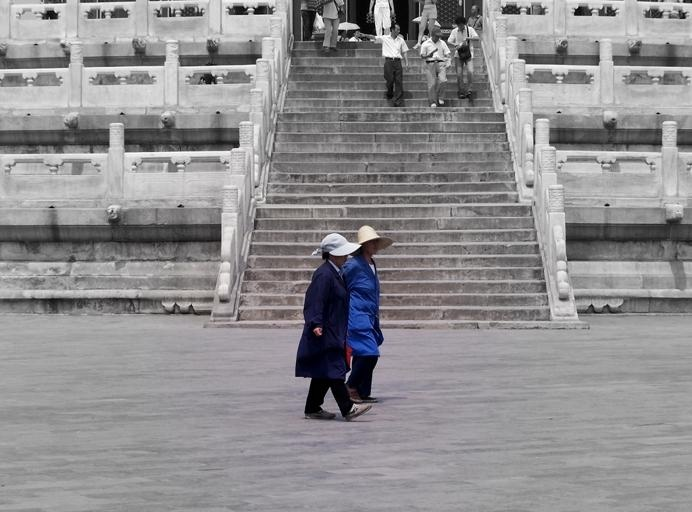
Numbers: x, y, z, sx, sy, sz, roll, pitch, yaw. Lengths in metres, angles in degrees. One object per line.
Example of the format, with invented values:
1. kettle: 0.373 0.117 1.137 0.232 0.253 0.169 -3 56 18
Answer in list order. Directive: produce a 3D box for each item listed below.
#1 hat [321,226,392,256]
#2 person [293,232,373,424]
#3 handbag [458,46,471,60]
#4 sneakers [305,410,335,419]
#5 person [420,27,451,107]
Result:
1. hat: 0.106 -0.114 24.690 0.649 0.187 0.471 -9 9 -26
2. person: -0.188 0.892 24.352 0.823 2.220 0.677 -1 1 -7
3. handbag: 2.254 -3.708 37.411 0.248 0.279 0.148 -1 1 5
4. sneakers: -0.281 1.936 24.220 0.370 0.124 0.118 -1 2 -10
5. person: 1.708 -3.409 37.069 0.510 1.541 1.292 -1 1 3
